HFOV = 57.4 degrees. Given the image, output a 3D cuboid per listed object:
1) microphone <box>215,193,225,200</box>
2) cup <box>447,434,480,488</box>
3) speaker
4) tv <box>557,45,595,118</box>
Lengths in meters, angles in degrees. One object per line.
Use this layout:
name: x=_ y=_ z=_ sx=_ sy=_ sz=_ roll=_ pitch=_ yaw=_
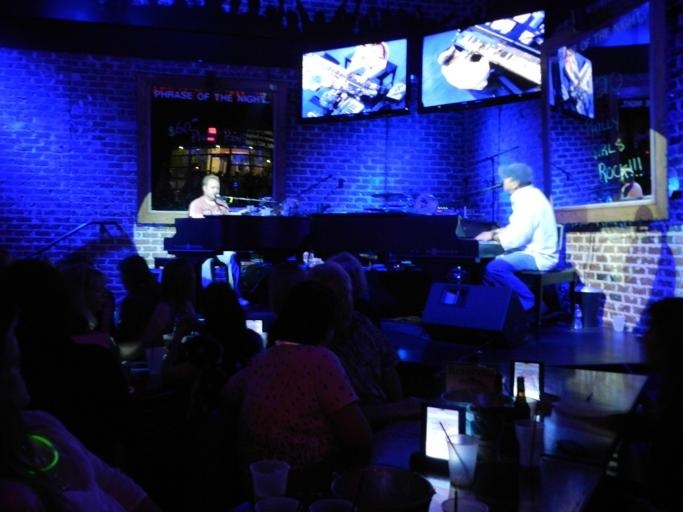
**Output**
microphone: x=-1.454 y=-0.719 z=7.448 sx=0.090 sy=0.048 sz=0.118 roll=-1 pitch=12 yaw=-32
cup: x=0.427 y=0.696 z=2.181 sx=0.106 sy=0.160 sz=0.168 roll=1 pitch=3 yaw=13
speaker: x=0.881 y=0.449 z=4.104 sx=0.623 sy=0.431 sz=0.394 roll=-5 pitch=18 yaw=39
tv: x=2.086 y=-1.535 z=5.533 sx=0.097 sy=0.679 sz=0.448 roll=-1 pitch=3 yaw=-16
